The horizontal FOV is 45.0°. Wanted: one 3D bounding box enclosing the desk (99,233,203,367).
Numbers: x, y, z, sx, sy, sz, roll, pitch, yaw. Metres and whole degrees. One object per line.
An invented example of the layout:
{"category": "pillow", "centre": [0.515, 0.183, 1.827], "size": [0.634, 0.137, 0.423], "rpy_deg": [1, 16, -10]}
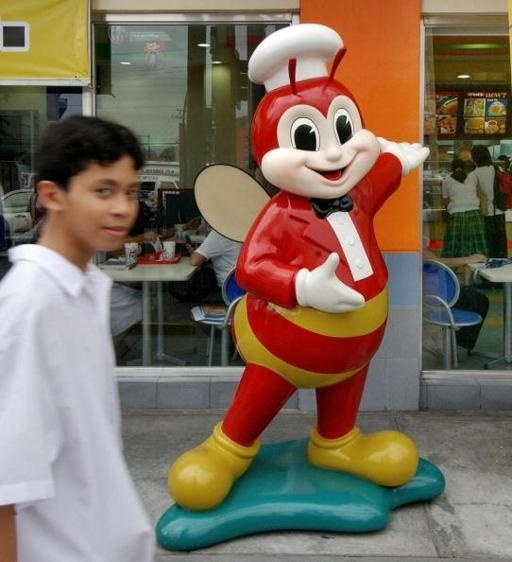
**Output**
{"category": "desk", "centre": [-0.591, 0.123, 4.921], "size": [1.029, 0.820, 1.001], "rpy_deg": [1, 14, -6]}

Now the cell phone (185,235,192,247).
{"category": "cell phone", "centre": [-0.494, -0.296, 4.511], "size": [0.047, 0.068, 0.019], "rpy_deg": [-9, 2, 3]}

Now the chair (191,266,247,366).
{"category": "chair", "centre": [-0.270, 0.295, 4.880], "size": [0.757, 0.805, 0.666], "rpy_deg": [0, 3, -1]}

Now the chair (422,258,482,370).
{"category": "chair", "centre": [1.448, 0.240, 4.586], "size": [0.491, 0.726, 0.472], "rpy_deg": [0, 6, -2]}
